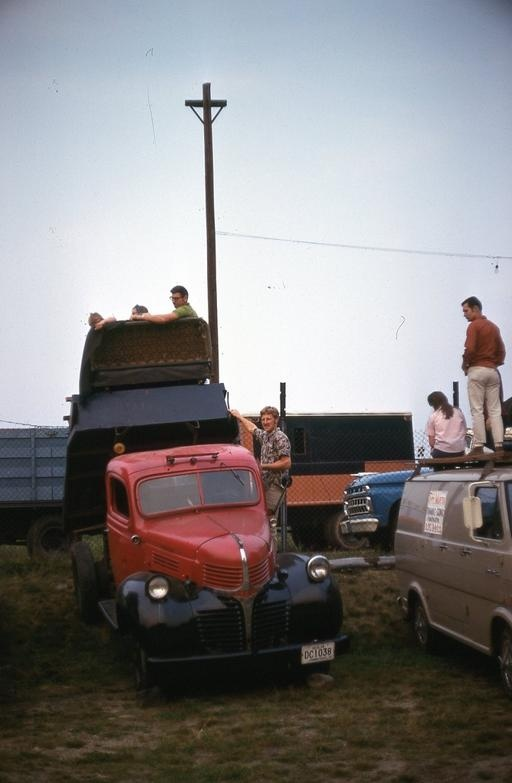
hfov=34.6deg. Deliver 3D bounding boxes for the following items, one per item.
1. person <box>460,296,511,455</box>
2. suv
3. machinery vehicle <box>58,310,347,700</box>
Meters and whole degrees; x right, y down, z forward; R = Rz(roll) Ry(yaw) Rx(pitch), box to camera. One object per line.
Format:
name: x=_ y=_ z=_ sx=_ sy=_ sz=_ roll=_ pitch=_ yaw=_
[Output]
person: x=2.395 y=-0.246 z=8.667 sx=0.424 sy=1.615 sz=0.615 roll=-3 pitch=-7 yaw=16
suv: x=2.034 y=1.611 z=13.944 sx=1.951 sy=1.494 sz=3.523 roll=1 pitch=-6 yaw=-26
machinery vehicle: x=-0.532 y=1.207 z=9.176 sx=1.774 sy=2.880 sz=5.525 roll=-2 pitch=-4 yaw=-14
